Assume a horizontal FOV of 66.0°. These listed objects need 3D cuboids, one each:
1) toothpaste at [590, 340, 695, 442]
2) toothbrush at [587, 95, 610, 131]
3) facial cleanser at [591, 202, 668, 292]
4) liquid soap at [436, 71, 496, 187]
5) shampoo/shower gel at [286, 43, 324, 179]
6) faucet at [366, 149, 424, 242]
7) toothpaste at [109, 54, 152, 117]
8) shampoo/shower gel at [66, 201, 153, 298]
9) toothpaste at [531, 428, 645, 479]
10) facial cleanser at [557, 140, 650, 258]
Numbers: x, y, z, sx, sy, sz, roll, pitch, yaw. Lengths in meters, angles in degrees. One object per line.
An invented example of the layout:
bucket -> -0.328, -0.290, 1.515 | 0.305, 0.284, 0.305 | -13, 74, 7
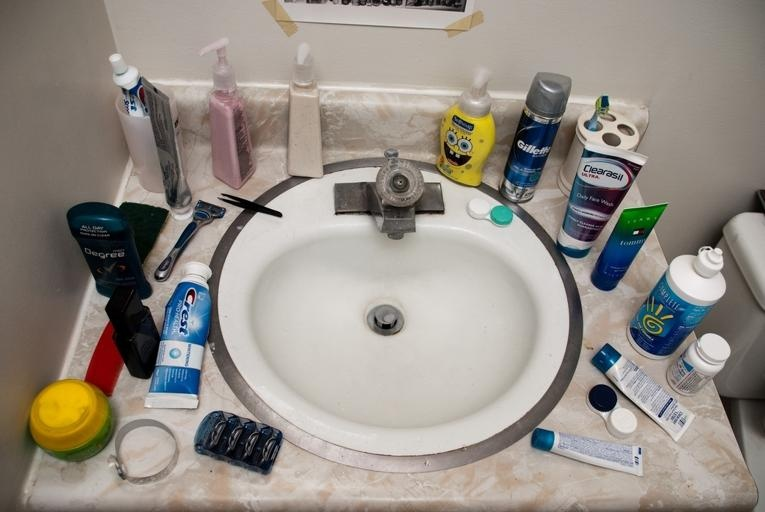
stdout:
toothpaste -> 0.479, 0.250, 1.095 | 0.085, 0.048, 0.203 | -33, 59, -31
toothbrush -> 0.449, -0.294, 1.217 | 0.027, 0.088, 0.023 | 3, 80, 7
facial cleanser -> 0.468, -0.019, 1.179 | 0.072, 0.262, 0.074 | -13, 51, -15
liquid soap -> 0.183, -0.291, 1.281 | 0.120, 0.228, 0.112 | 22, 48, 17
shampoo/shower gel -> -0.158, -0.299, 1.234 | 0.093, 0.263, 0.098 | 15, 40, 11
faucet -> 0.013, -0.130, 1.230 | 0.105, 0.157, 0.166 | -1, 72, -3
toothpaste -> -0.487, -0.324, 1.128 | 0.044, 0.143, 0.048 | -27, 76, -16
shampoo/shower gel -> -0.458, -0.032, 1.114 | 0.173, 0.156, 0.183 | -4, 39, -7
toothpaste -> 0.367, 0.344, 1.051 | 0.190, 0.037, 0.061 | 6, 34, 22
facial cleanser -> 0.420, -0.100, 1.151 | 0.111, 0.251, 0.039 | 3, 41, 4
